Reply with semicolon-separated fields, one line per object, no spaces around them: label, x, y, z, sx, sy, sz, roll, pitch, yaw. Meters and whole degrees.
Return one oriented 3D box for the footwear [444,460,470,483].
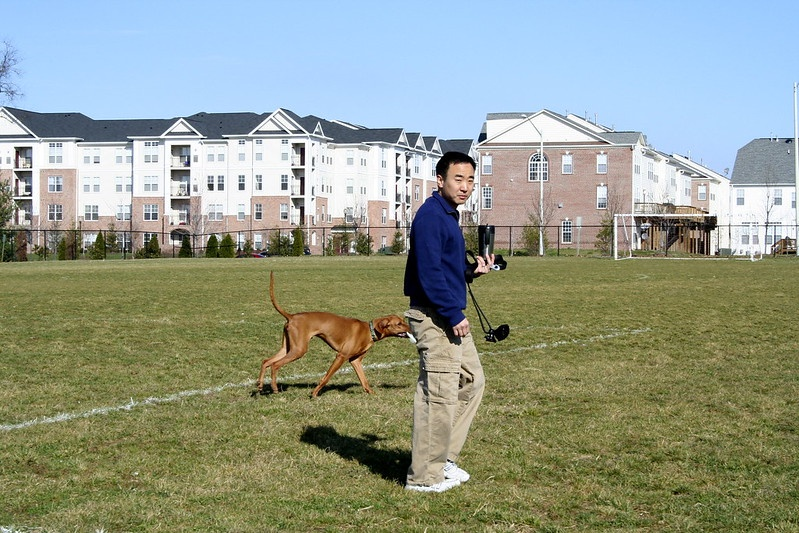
footwear;0.622;2.272;10.511;0.387;0.175;0.144;2;0;34

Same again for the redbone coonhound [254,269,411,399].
redbone coonhound;-0.915;1.186;12.955;1.931;1.234;0.785;0;10;-1

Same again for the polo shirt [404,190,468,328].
polo shirt;0.417;-0.109;10.560;0.751;1.405;1.535;2;1;7
